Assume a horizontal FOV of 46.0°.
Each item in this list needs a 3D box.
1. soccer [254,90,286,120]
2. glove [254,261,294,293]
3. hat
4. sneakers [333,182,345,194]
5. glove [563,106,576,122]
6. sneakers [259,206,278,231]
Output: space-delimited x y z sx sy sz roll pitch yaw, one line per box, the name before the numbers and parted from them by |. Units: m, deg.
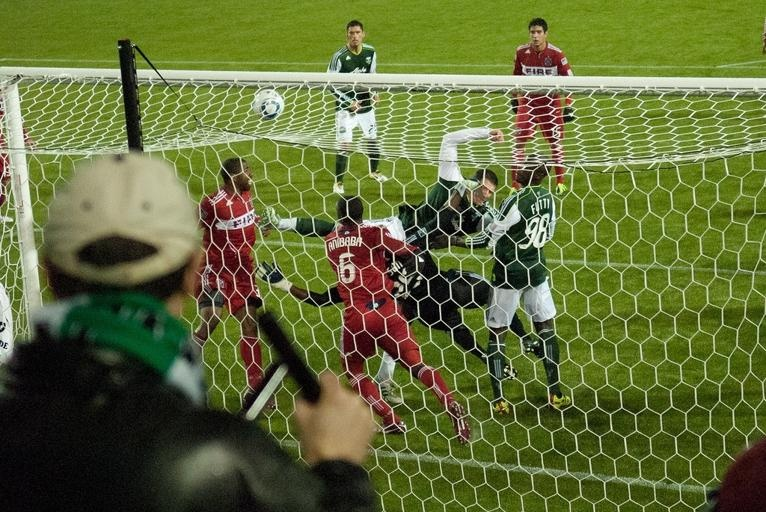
soccer | -0.916 -1.210 7.199 0.228 0.247 0.345 -1 21 -8
glove | -0.775 0.147 6.500 0.276 0.181 0.074 35 -2 6
hat | -0.818 -0.027 2.725 0.420 0.591 0.290 0 -4 -27
sneakers | -0.504 -0.796 10.432 0.084 0.093 0.219 -1 15 -5
glove | 1.845 -1.407 8.847 0.140 0.178 0.449 0 1 11
sneakers | -0.843 -0.277 6.659 0.143 0.104 0.297 6 -7 -5
